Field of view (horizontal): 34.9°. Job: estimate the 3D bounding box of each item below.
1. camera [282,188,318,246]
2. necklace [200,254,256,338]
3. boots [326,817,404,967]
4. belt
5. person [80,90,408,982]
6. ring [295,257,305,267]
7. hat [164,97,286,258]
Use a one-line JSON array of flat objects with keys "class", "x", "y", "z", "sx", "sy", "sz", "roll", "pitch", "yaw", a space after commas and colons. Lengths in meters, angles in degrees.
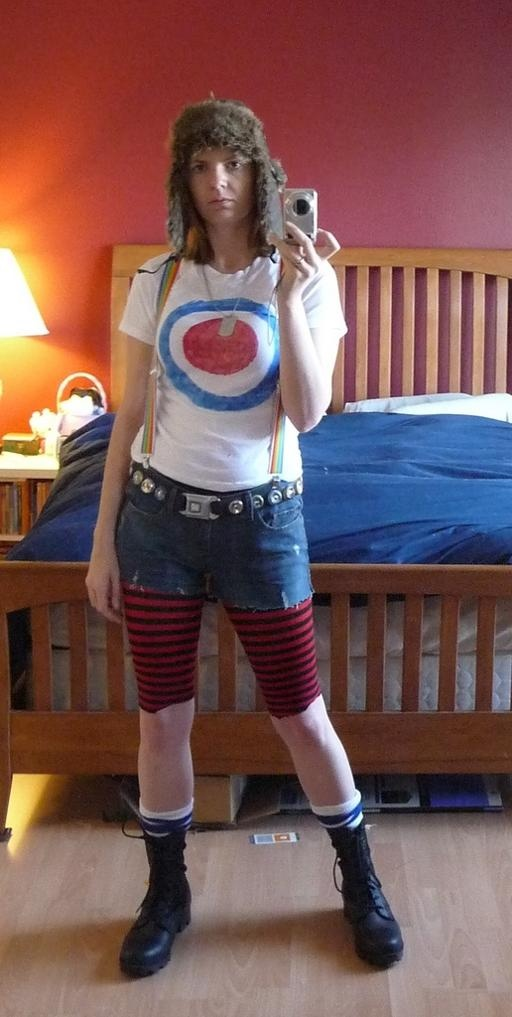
[{"class": "camera", "x": 0.053, "y": -0.365, "z": 1.004, "sx": 0.041, "sy": 0.074, "sz": 0.095, "roll": -1, "pitch": 8, "yaw": 2}, {"class": "necklace", "x": -0.033, "y": -0.261, "z": 1.014, "sx": 0.076, "sy": 0.100, "sz": 0.081, "roll": -2, "pitch": 8, "yaw": -3}, {"class": "boots", "x": 0.156, "y": 0.562, "z": 1.194, "sx": 0.060, "sy": 0.151, "sz": 0.161, "roll": -11, "pitch": 9, "yaw": -12}, {"class": "belt", "x": -0.061, "y": -0.022, "z": 1.058, "sx": 0.233, "sy": 0.065, "sz": 0.092, "roll": -1, "pitch": 8, "yaw": 2}, {"class": "person", "x": -0.021, "y": 0.062, "z": 1.116, "sx": 0.434, "sy": 1.198, "sz": 0.200, "roll": 1, "pitch": 8, "yaw": 15}, {"class": "ring", "x": 0.051, "y": -0.289, "z": 0.963, "sx": 0.005, "sy": 0.013, "sz": 0.009, "roll": -11, "pitch": -11, "yaw": 5}, {"class": "hat", "x": -0.044, "y": -0.429, "z": 1.060, "sx": 0.158, "sy": 0.219, "sz": 0.110, "roll": -2, "pitch": 8, "yaw": -3}]
